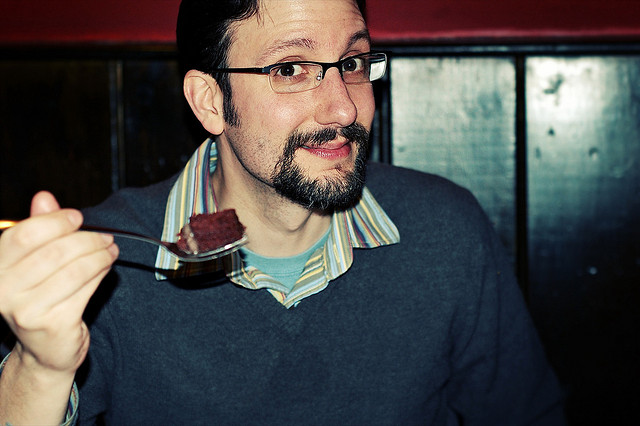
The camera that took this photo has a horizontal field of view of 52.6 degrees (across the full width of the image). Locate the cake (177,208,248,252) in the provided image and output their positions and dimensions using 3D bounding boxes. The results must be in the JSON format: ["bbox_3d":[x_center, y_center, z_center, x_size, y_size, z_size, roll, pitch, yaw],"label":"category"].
[{"bbox_3d":[-0.426,0.069,2.532,0.211,0.054,0.159,-17,59,-11],"label":"cake"}]

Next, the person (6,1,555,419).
[{"bbox_3d":[-0.066,0.011,2.735,1.720,1.438,0.912,-2,2,-11],"label":"person"}]
